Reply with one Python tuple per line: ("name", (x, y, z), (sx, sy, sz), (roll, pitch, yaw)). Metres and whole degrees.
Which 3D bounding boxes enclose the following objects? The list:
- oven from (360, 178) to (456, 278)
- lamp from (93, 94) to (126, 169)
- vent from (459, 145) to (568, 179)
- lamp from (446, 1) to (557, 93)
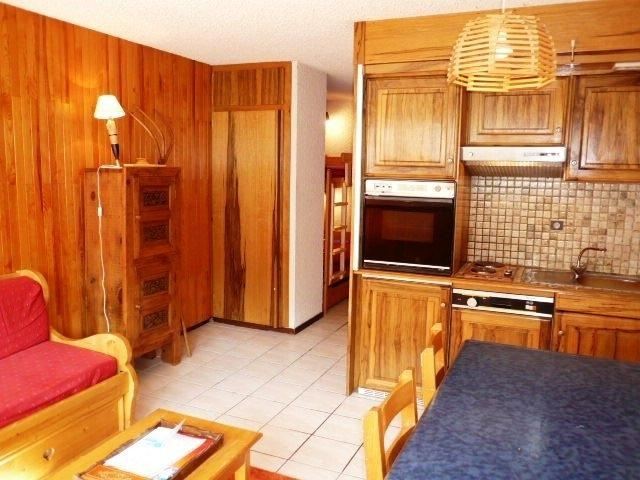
("oven", (0.659, -0.036, 4.028), (0.936, 0.898, 0.660), (2, 4, 19))
("lamp", (-1.775, -0.940, 4.037), (0.227, 0.616, 0.478), (-4, 12, -23))
("vent", (1.475, -0.593, 3.629), (0.702, 0.237, 0.527), (6, 12, 26))
("lamp", (0.780, -0.791, 2.039), (0.442, 0.286, 0.306), (3, 11, 13))
